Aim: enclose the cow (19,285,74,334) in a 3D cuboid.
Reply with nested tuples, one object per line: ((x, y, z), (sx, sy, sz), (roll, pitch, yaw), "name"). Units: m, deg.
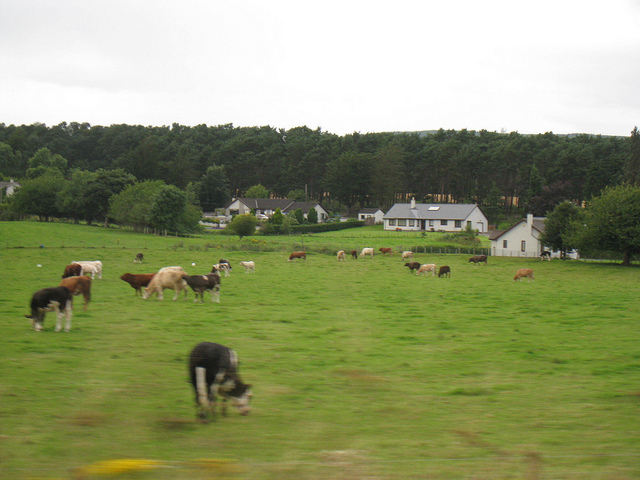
((-14.533, 3.517, 53.602), (1.063, 2.241, 3.577), (4, 5, 35), "cow")

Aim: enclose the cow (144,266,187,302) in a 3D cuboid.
((-9.281, 2.586, 60.618), (2.543, 1.997, 1.802), (3, 6, -9), "cow")

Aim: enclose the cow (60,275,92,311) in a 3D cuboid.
((-13.859, 2.816, 55.825), (0.694, 1.660, 2.641), (-7, -8, 37), "cow")

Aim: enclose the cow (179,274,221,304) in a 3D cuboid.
((-7.268, 2.848, 60.570), (0.984, 1.679, 3.325), (1, 3, 42), "cow")

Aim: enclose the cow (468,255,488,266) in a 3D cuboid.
((14.706, 1.753, 93.084), (1.712, 0.815, 2.431), (4, 5, 7), "cow")

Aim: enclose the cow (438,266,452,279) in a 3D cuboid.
((9.774, 2.388, 78.741), (0.894, 0.851, 2.038), (4, 5, 5), "cow")
